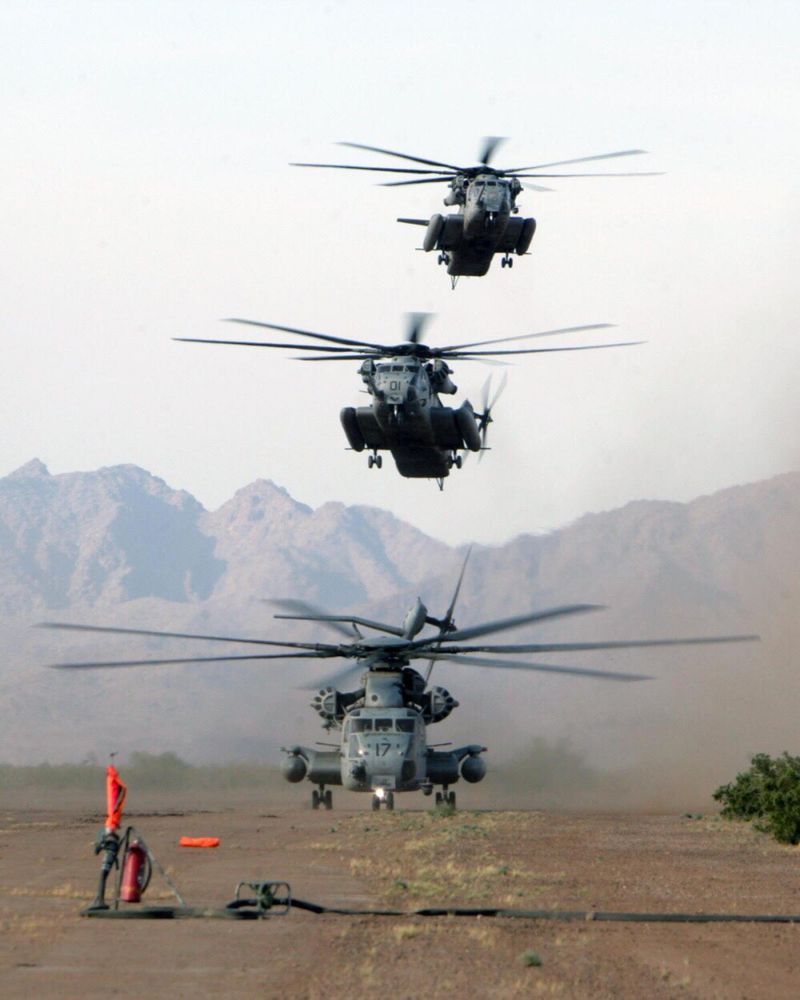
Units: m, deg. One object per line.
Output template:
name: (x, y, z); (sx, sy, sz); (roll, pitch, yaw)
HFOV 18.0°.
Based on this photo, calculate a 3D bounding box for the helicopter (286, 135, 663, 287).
helicopter: (1.963, -7.339, 62.146); (6.614, 4.329, 10.909); (0, -11, 1)

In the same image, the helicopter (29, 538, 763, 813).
helicopter: (0.185, 4.800, 67.174); (11.641, 5.226, 13.847); (2, -7, -3)

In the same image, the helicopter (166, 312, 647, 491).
helicopter: (0.852, -2.722, 59.875); (7.975, 3.909, 10.274); (1, -6, 32)
